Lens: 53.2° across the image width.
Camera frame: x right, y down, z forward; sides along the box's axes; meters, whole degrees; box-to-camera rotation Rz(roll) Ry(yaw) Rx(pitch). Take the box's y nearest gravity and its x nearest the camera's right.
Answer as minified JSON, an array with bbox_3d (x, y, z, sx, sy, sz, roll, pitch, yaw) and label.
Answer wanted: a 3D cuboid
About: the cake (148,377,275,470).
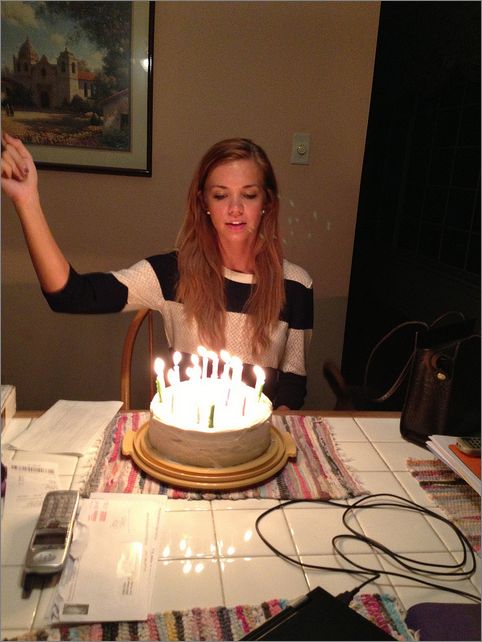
[{"bbox_3d":[-0.058,0.205,0.897,0.220,0.089,0.228,5,8,30],"label":"cake"}]

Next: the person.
[{"bbox_3d":[-0.160,-0.136,1.345,0.833,0.759,0.408,0,12,-21],"label":"person"}]

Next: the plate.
[{"bbox_3d":[-0.063,0.246,0.941,0.305,0.040,0.363,3,6,22],"label":"plate"}]

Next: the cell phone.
[{"bbox_3d":[-0.249,0.274,0.644,0.049,0.022,0.174,5,8,-14],"label":"cell phone"}]
